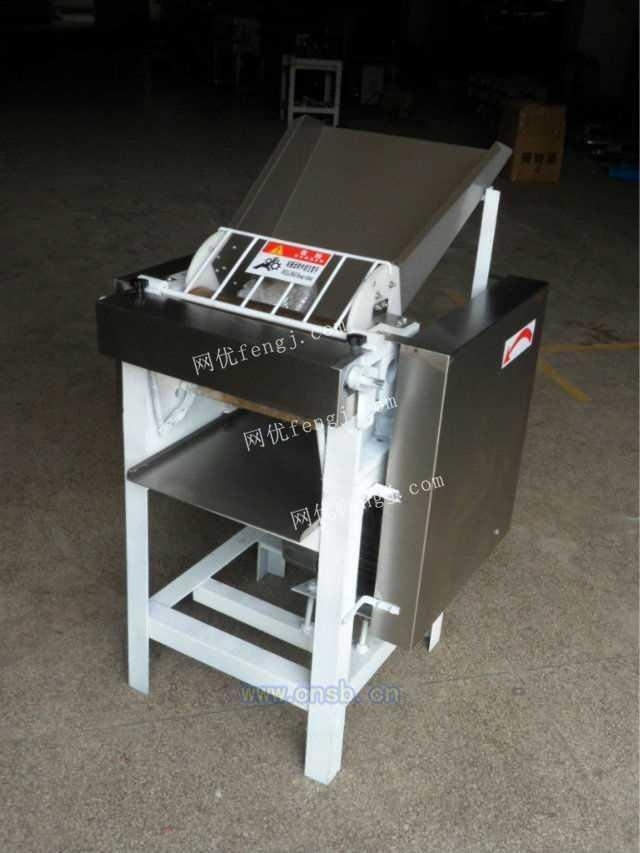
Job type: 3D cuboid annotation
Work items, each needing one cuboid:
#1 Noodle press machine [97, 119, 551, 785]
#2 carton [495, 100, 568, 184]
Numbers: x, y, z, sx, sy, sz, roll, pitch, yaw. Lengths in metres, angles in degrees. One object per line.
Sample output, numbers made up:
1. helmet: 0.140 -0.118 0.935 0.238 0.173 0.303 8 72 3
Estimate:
1. Noodle press machine: 0.002 0.041 1.696 0.745 1.246 0.795 20 31 25
2. carton: 1.644 -2.160 6.132 0.379 0.470 0.498 2 21 -5
